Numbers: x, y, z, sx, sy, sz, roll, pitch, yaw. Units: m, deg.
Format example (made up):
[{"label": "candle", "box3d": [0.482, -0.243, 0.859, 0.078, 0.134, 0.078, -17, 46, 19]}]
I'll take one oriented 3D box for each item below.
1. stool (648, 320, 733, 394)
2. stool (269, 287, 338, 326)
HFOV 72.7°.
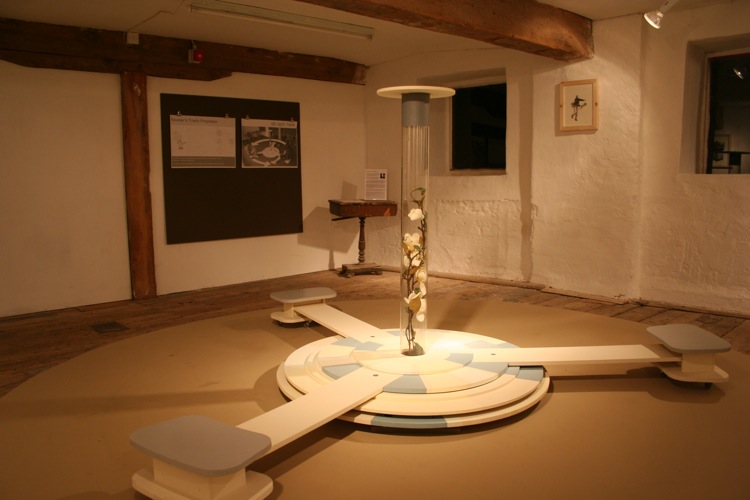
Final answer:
[{"label": "stool", "box3d": [2.732, 0.918, 4.429, 0.547, 0.394, 0.525, -2, 14, -5]}, {"label": "stool", "box3d": [-0.829, 0.641, 5.802, 0.697, 0.356, 0.451, -6, 15, -21]}]
